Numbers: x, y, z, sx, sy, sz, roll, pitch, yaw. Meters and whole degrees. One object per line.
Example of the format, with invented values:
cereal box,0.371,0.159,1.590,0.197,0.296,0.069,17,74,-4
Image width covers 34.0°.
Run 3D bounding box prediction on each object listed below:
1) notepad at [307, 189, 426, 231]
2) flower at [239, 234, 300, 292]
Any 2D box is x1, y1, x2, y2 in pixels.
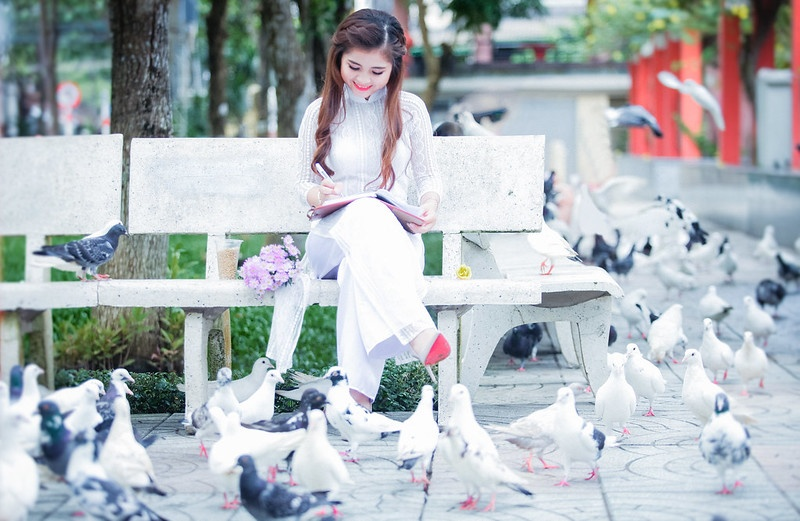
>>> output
notepad,-0.532,-0.511,12.622,0.849,0.253,0.784,2,-13,-20
flower,-1.250,0.084,12.427,0.551,0.447,0.157,-1,4,-4
